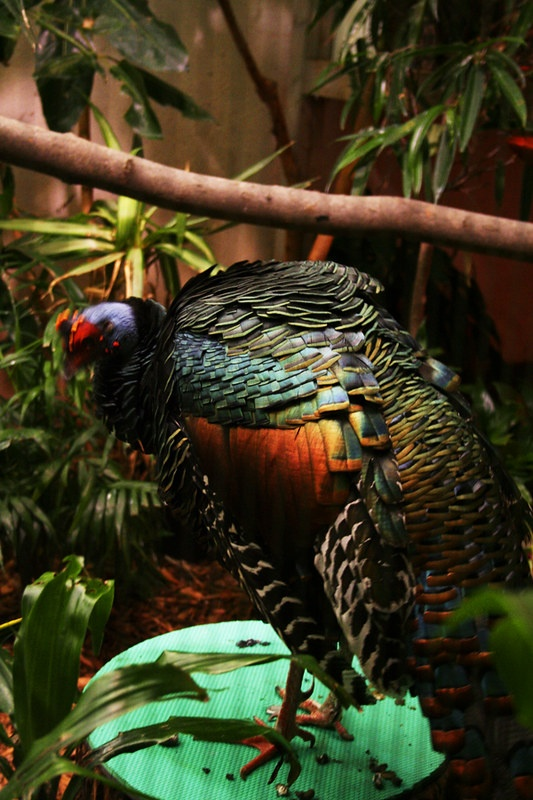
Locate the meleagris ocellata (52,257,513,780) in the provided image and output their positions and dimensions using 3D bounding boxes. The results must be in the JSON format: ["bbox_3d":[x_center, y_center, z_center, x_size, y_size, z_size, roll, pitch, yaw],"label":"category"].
[{"bbox_3d":[0.017,0.159,1.418,0.956,0.786,0.523,5,-1,26],"label":"meleagris ocellata"}]
